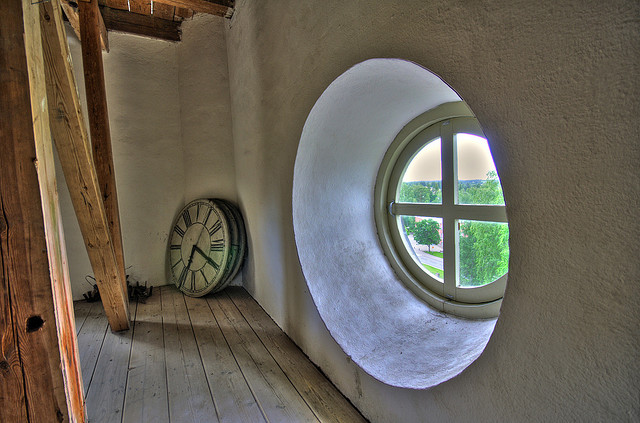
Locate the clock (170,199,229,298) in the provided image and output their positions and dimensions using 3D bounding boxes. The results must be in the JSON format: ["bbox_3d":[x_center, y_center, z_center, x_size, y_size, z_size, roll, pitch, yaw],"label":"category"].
[{"bbox_3d":[-0.994,0.321,3.867,0.674,0.795,0.112,6,-4,41],"label":"clock"}]
